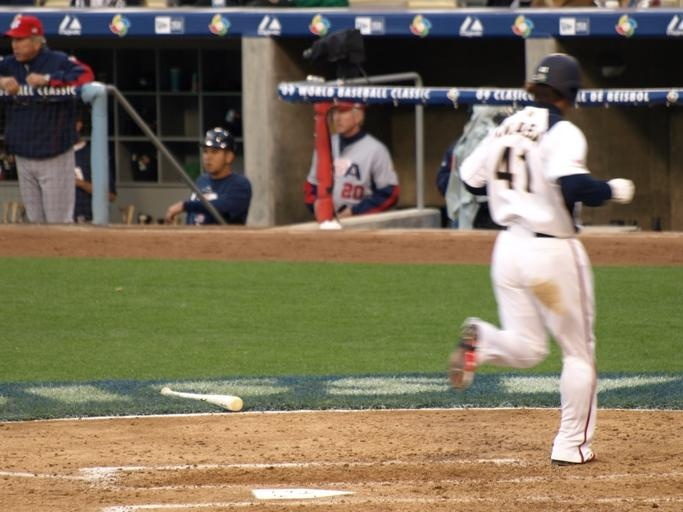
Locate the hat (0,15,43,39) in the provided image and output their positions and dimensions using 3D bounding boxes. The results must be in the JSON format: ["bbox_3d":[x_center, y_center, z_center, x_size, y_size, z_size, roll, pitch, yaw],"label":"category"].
[{"bbox_3d":[-2.317,-1.713,15.089,0.289,0.147,0.195,-1,11,-37],"label":"hat"}]

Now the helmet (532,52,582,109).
[{"bbox_3d":[1.393,-1.168,12.867,0.279,0.263,0.330,12,25,18],"label":"helmet"}]

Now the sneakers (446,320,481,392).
[{"bbox_3d":[0.794,0.619,12.849,0.166,0.424,0.196,12,7,36],"label":"sneakers"}]

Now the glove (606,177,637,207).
[{"bbox_3d":[1.735,-0.422,12.615,0.183,0.125,0.152,18,-4,9],"label":"glove"}]

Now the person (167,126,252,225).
[{"bbox_3d":[-1.011,-0.632,15.889,0.580,0.745,0.774,1,7,6],"label":"person"}]

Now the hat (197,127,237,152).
[{"bbox_3d":[-0.950,-0.931,15.949,0.254,0.116,0.179,15,10,-11],"label":"hat"}]
